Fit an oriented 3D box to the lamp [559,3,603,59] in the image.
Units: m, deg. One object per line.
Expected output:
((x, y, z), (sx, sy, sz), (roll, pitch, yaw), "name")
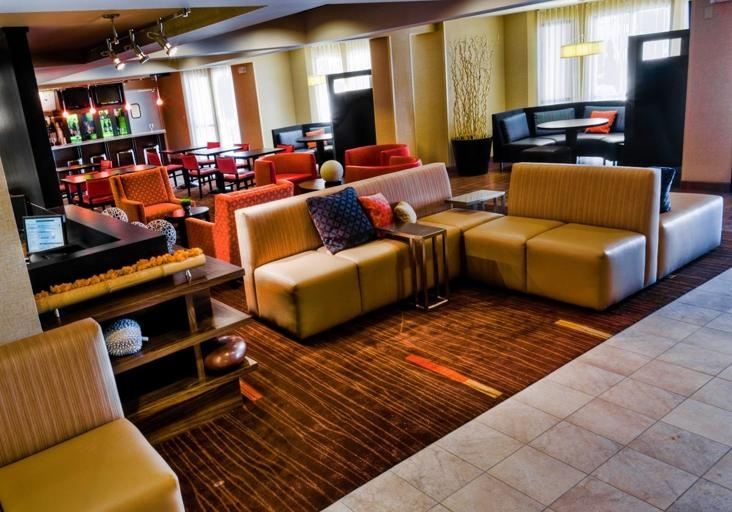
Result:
((4.661, -4.568, 10.023), (0.915, 0.889, 0.850), (-7, 11, -19), "lamp")

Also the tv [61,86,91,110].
((-8.351, -4.557, 13.775), (0.715, 0.600, 0.399), (-13, 15, -43), "tv")

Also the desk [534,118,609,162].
((3.934, -2.435, 9.368), (1.273, 0.811, 1.196), (2, 14, 18), "desk")

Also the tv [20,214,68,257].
((-2.569, -0.158, 3.857), (0.481, 0.399, 0.060), (-5, -6, -26), "tv")

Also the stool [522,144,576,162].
((3.674, -2.039, 9.705), (0.705, 0.409, 0.714), (7, 12, 43), "stool")

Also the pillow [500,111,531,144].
((3.244, -2.814, 10.561), (0.930, 0.526, 0.161), (-24, 11, -39), "pillow")

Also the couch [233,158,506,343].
((-0.040, -0.108, 5.220), (2.344, 1.222, 1.137), (-21, 24, -34), "couch")
